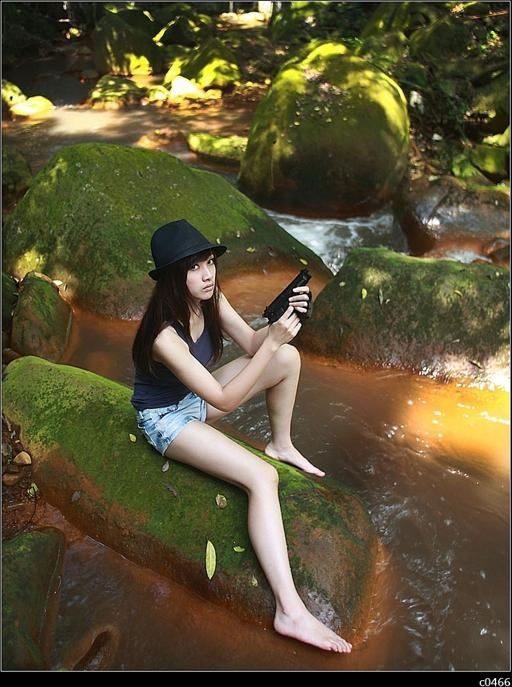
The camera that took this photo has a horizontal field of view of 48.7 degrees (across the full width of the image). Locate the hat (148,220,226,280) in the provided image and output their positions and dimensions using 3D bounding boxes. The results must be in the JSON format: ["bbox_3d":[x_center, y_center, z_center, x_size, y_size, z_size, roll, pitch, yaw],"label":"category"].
[{"bbox_3d":[-0.267,-0.293,1.955,0.230,0.116,0.213,-27,5,43],"label":"hat"}]
